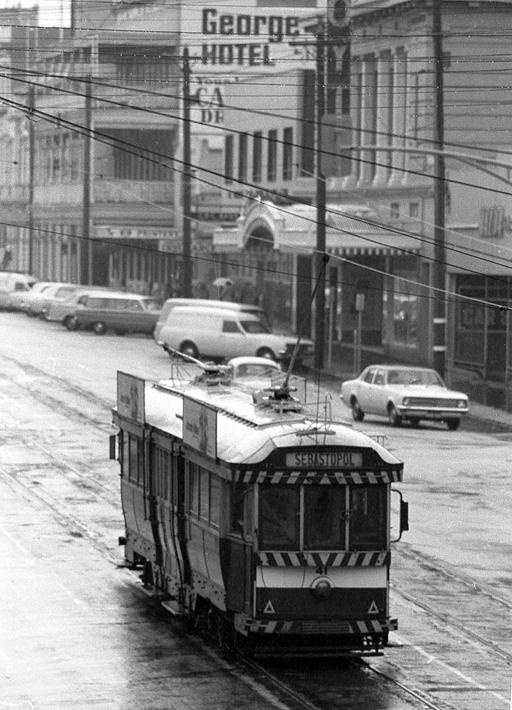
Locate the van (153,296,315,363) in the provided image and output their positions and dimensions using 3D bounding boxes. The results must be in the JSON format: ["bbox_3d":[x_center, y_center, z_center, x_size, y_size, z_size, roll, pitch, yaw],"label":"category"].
[{"bbox_3d":[-0.819,-0.184,55.665,3.161,1.842,1.924,6,6,27],"label":"van"}]

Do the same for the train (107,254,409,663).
[{"bbox_3d":[-0.096,1.782,25.383,1.730,3.379,6.247,1,3,-14],"label":"train"}]

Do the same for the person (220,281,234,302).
[{"bbox_3d":[-1.066,-2.206,72.848,0.356,0.844,0.711,2,6,5],"label":"person"}]

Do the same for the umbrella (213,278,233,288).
[{"bbox_3d":[-1.140,-2.530,74.000,0.347,0.240,0.602,-4,6,-17],"label":"umbrella"}]
